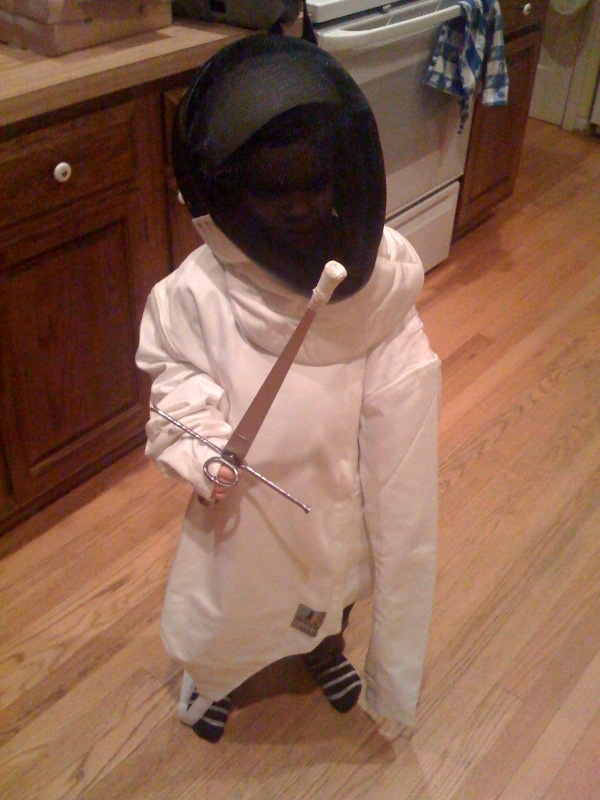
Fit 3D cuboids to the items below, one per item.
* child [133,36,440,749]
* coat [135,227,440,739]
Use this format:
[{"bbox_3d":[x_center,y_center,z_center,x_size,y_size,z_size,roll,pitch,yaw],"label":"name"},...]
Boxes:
[{"bbox_3d":[-0.013,0.074,0.741,0.298,0.837,0.305,1,29,-3],"label":"child"},{"bbox_3d":[0.002,0.095,0.776,0.326,0.761,0.274,2,35,-2],"label":"coat"}]
